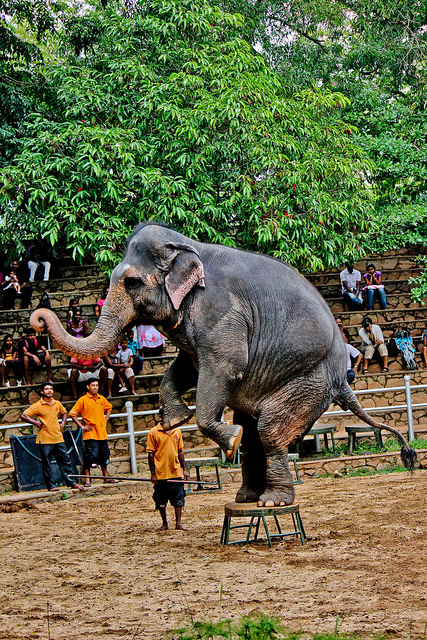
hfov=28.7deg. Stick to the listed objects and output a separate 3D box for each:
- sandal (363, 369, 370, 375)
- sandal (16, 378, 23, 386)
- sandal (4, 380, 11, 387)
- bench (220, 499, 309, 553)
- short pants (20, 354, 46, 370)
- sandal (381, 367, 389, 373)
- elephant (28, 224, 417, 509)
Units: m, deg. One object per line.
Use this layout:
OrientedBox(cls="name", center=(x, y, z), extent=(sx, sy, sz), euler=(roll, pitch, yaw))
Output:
OrientedBox(cls="sandal", center=(2.742, 0.913, 14.950), extent=(0.103, 0.059, 0.252), euler=(-1, -4, 0))
OrientedBox(cls="sandal", center=(-3.216, 1.018, 13.797), extent=(0.078, 0.102, 0.241), euler=(-5, 0, -14))
OrientedBox(cls="sandal", center=(-3.429, 1.033, 13.824), extent=(0.093, 0.109, 0.449), euler=(-5, 0, -15))
OrientedBox(cls="bench", center=(0.439, 1.860, 7.228), extent=(0.862, 0.340, 0.714), euler=(-1, -6, 1))
OrientedBox(cls="short pants", center=(-3.021, 0.670, 13.832), extent=(0.371, 0.271, 0.102), euler=(0, 2, -15))
OrientedBox(cls="sandal", center=(3.087, 0.881, 14.977), extent=(0.094, 0.087, 0.263), euler=(-3, -6, 28))
OrientedBox(cls="elephant", center=(0.232, 0.371, 6.703), extent=(3.245, 1.836, 1.091), euler=(4, -7, 4))
